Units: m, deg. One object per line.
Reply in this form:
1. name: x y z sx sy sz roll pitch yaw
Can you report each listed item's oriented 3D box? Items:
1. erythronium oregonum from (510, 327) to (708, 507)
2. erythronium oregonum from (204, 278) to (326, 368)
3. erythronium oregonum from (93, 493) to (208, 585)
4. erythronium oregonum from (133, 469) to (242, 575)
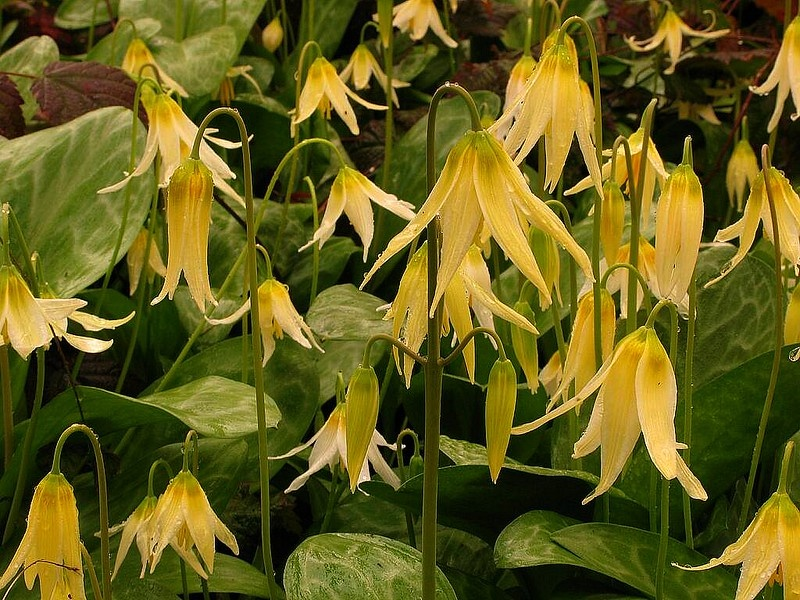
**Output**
1. erythronium oregonum: 0.364 0.133 1.616 0.229 0.244 0.269 5 -2 23
2. erythronium oregonum: -0.272 0.031 2.026 0.144 0.141 0.206 -3 27 -1
3. erythronium oregonum: -0.436 0.423 1.799 0.140 0.113 0.170 14 20 -5
4. erythronium oregonum: -0.368 0.378 1.774 0.153 0.253 0.163 -10 8 -15
